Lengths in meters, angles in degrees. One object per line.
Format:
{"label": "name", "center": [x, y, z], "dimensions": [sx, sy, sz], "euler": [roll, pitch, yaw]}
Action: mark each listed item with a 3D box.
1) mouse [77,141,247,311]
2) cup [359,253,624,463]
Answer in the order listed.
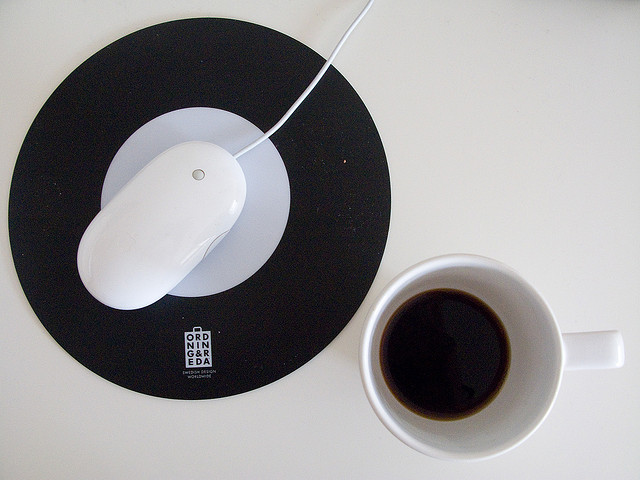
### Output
{"label": "mouse", "center": [-0.190, -0.020, 0.706], "dimensions": [0.235, 0.041, 0.124], "euler": [-42, 84, -11]}
{"label": "cup", "center": [0.166, 0.138, 0.687], "dimensions": [0.333, 0.296, 0.249], "euler": [1, 84, -8]}
